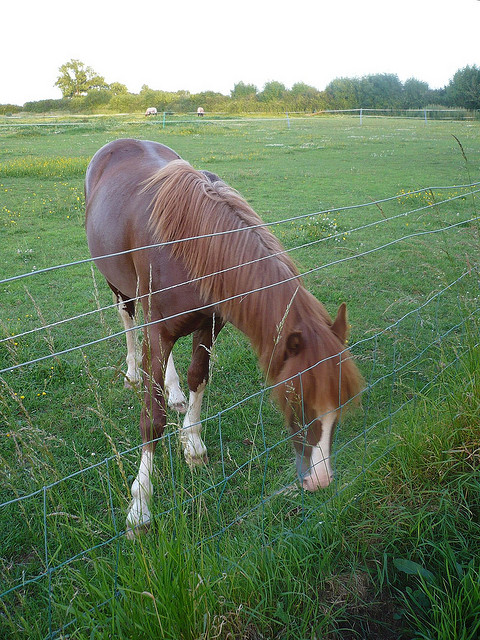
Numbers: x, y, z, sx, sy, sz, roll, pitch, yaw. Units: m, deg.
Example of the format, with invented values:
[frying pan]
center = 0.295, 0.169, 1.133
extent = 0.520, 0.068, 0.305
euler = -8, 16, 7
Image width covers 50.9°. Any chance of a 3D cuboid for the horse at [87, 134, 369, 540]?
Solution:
[horse]
center = -0.497, -0.040, 3.268
extent = 0.715, 2.074, 2.931
euler = -9, 28, -33
